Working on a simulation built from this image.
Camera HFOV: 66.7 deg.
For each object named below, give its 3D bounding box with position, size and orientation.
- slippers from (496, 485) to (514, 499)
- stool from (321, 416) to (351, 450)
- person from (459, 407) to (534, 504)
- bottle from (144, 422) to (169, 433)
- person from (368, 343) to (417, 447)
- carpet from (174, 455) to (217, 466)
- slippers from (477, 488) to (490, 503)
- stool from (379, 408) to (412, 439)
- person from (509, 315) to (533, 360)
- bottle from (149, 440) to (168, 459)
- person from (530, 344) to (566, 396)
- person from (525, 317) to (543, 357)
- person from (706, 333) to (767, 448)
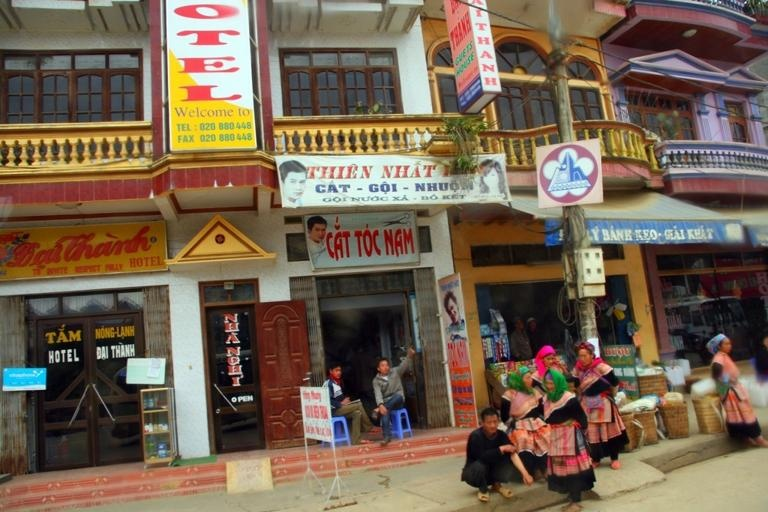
[{"bbox_3d":[2.099,4.123,10.271,0.136,0.068,0.279,-2,-5,-25],"label":"slippers"},{"bbox_3d":[-0.946,3.891,13.137,0.361,0.646,0.643,-6,-9,-6],"label":"stool"},{"bbox_3d":[1.904,3.460,10.342,1.157,1.545,0.644,-7,-10,3],"label":"person"},{"bbox_3d":[-4.892,3.687,12.605,0.484,0.214,0.031,-4,-10,-13],"label":"bottle"},{"bbox_3d":[0.243,3.186,13.550,0.831,1.997,1.343,-13,-11,33],"label":"person"},{"bbox_3d":[-4.081,4.418,12.712,0.892,0.101,0.805,-4,-8,-14],"label":"carpet"},{"bbox_3d":[1.730,4.134,10.153,0.226,0.210,0.264,-7,-9,6],"label":"slippers"},{"bbox_3d":[0.456,3.929,13.698,0.749,0.663,0.757,-14,-17,31],"label":"stool"},{"bbox_3d":[3.676,2.196,15.659,0.654,1.134,0.303,-1,-12,-33],"label":"person"},{"bbox_3d":[-4.811,4.146,12.554,0.399,0.361,0.047,-6,-10,-4],"label":"bottle"},{"bbox_3d":[2.947,2.171,10.775,0.753,0.791,0.826,-10,-33,28],"label":"person"},{"bbox_3d":[4.116,2.168,15.957,0.723,0.856,0.291,1,-3,-27],"label":"person"},{"bbox_3d":[7.227,2.804,12.165,0.718,2.281,0.533,-1,-11,-31],"label":"person"}]
